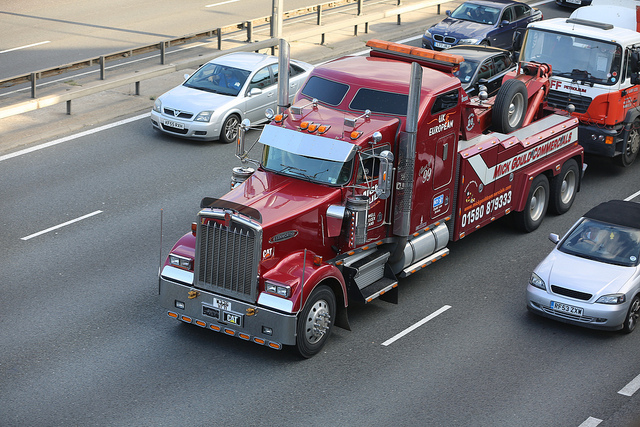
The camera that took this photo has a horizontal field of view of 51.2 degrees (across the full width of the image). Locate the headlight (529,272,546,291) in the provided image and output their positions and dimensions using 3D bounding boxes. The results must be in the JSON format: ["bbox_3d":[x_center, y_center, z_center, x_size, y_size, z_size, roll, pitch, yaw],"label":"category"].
[{"bbox_3d":[4.460,1.394,13.692,0.307,0.148,0.236,8,12,5],"label":"headlight"}]

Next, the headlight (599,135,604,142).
[{"bbox_3d":[7.946,-2.109,18.796,0.111,0.148,0.148,-1,1,30],"label":"headlight"}]

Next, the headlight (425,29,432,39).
[{"bbox_3d":[4.253,-7.018,26.197,0.128,0.318,0.246,-19,27,-3],"label":"headlight"}]

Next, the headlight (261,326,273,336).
[{"bbox_3d":[-0.971,2.117,12.051,0.161,0.158,0.100,12,22,28],"label":"headlight"}]

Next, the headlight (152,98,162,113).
[{"bbox_3d":[-5.021,-3.315,20.581,0.327,0.152,0.525,7,34,2],"label":"headlight"}]

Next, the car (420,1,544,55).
[{"bbox_3d":[7.034,-7.547,27.658,6.281,1.954,2.696,-17,27,-40],"label":"car"}]
